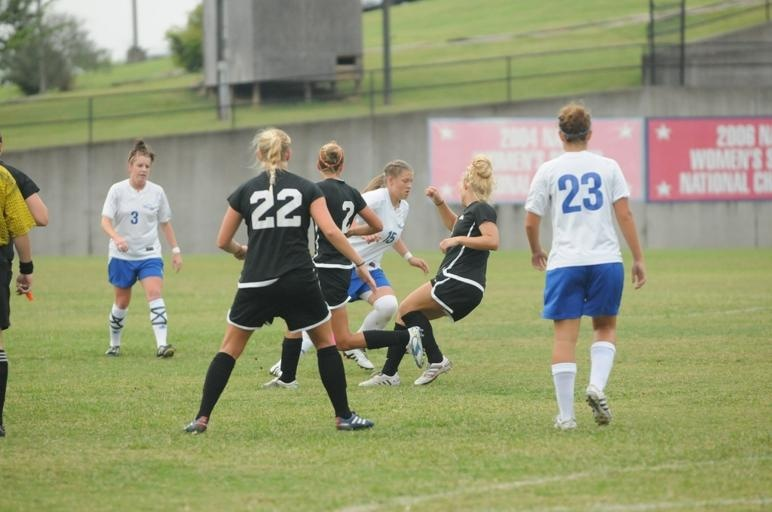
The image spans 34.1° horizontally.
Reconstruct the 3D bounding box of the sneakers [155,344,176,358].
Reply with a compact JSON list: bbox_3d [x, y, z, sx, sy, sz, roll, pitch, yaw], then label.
[{"bbox_3d":[-3.686,1.611,21.226,0.299,0.235,0.325,-3,14,-15],"label":"sneakers"}]

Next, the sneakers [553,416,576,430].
[{"bbox_3d":[2.595,2.418,18.333,0.332,0.177,0.231,4,14,10],"label":"sneakers"}]

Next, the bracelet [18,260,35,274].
[{"bbox_3d":[-5.324,0.168,18.808,0.194,0.159,0.190,5,12,15],"label":"bracelet"}]

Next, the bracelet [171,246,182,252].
[{"bbox_3d":[-4.268,-0.147,25.815,0.142,0.115,0.146,-2,-8,-13],"label":"bracelet"}]

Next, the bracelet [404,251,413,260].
[{"bbox_3d":[0.371,-0.011,20.846,0.121,0.116,0.091,-29,-2,-5],"label":"bracelet"}]

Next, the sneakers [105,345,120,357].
[{"bbox_3d":[-4.590,1.623,21.393,0.243,0.224,0.145,8,0,19],"label":"sneakers"}]
